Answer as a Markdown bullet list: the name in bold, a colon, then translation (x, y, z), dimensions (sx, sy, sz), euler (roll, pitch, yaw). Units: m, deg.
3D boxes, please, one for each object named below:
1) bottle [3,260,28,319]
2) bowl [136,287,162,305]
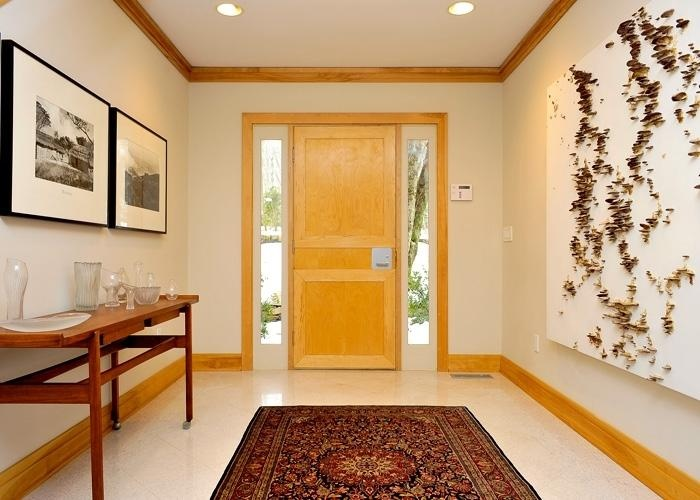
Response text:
- **bottle**: translation (-1.813, 0.210, 2.376), dimensions (0.100, 0.334, 0.066), euler (-4, 8, -38)
- **bowl**: translation (-1.396, 0.309, 3.037), dimensions (0.131, 0.089, 0.133), euler (1, -7, 0)
